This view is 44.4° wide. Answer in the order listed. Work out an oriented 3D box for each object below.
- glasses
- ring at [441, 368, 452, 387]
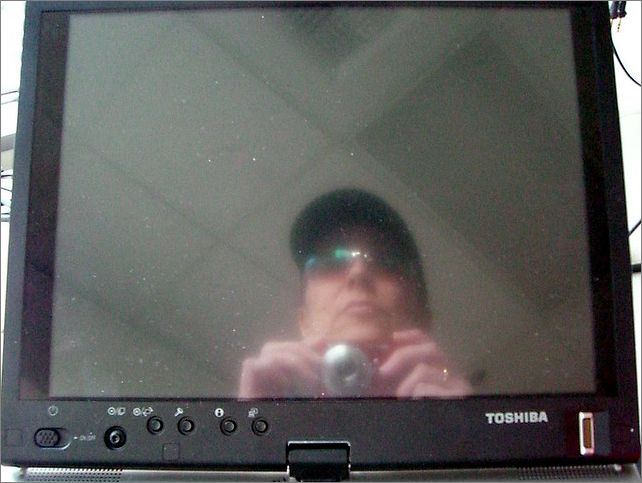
[{"bbox_3d":[0.061,0.024,1.335,0.119,0.042,0.085,2,-28,5],"label":"glasses"},{"bbox_3d":[0.208,0.224,1.315,0.015,0.016,0.017,32,-54,-22],"label":"ring"}]
